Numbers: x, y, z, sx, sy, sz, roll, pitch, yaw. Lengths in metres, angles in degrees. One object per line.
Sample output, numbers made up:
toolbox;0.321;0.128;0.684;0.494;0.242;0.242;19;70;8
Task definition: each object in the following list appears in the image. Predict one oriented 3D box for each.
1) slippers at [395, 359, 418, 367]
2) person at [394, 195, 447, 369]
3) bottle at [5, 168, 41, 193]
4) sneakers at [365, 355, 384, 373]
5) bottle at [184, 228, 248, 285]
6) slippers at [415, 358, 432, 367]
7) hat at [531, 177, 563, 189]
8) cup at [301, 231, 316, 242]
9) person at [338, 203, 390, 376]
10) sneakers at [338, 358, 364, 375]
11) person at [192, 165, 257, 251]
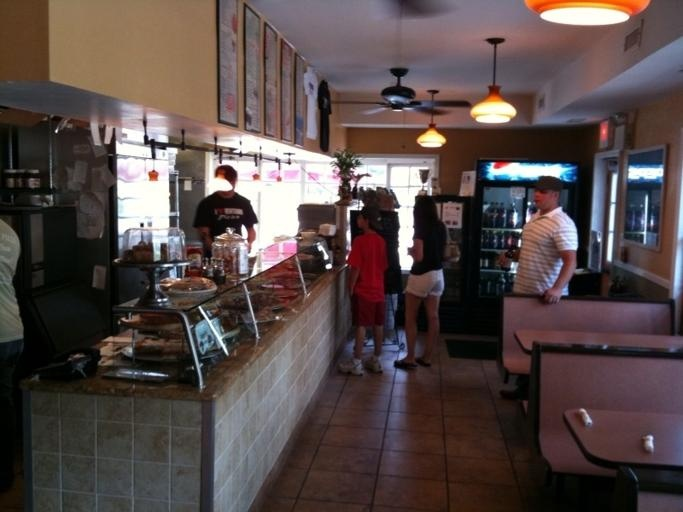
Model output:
slippers;0.698;1.173;6.107;0.257;0.095;0.092;6;3;19
person;0.862;0.277;6.086;0.452;1.885;0.495;4;10;25
bottle;-2.914;-0.699;5.021;0.318;0.149;0.257;-2;9;-13
sneakers;0.347;1.155;6.045;0.111;0.110;0.236;-3;9;-16
bottle;-0.849;0.020;4.093;0.261;0.418;0.434;3;4;39
slippers;0.908;1.176;6.200;0.067;0.058;0.183;-13;27;-38
hat;1.852;-0.658;4.984;0.183;0.084;0.131;8;6;-4
cup;-0.375;-0.228;6.390;0.178;0.100;0.195;0;9;0
person;0.239;0.352;5.887;0.558;1.752;0.306;-4;10;-25
sneakers;0.121;1.156;5.928;0.284;0.179;0.127;6;4;11
person;-1.241;-0.331;5.969;0.716;1.200;0.624;-6;25;-28
